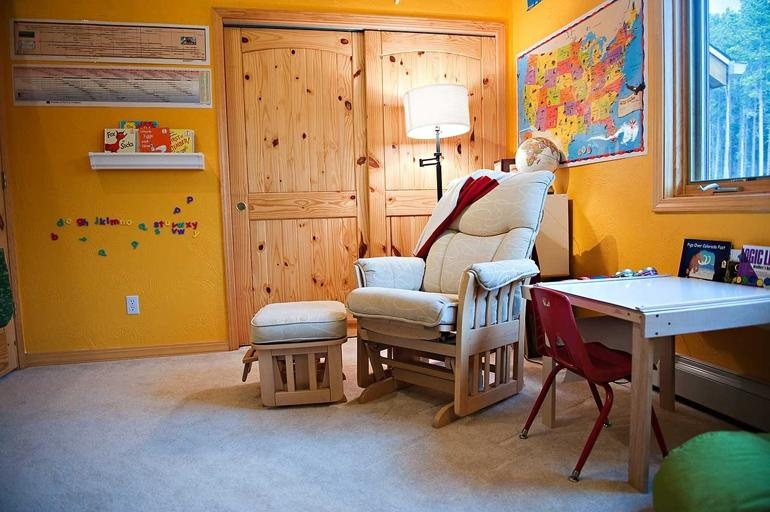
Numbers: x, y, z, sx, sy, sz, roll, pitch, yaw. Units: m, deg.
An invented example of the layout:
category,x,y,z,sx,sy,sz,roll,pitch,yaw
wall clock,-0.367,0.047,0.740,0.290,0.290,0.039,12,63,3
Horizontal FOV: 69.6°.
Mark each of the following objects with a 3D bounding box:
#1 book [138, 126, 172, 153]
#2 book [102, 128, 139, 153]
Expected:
category,x,y,z,sx,sy,sz,roll,pitch,yaw
book,-1.740,-0.879,4.137,0.211,0.191,0.074,1,2,-7
book,-1.985,-0.866,4.107,0.193,0.160,0.063,2,-8,-5
